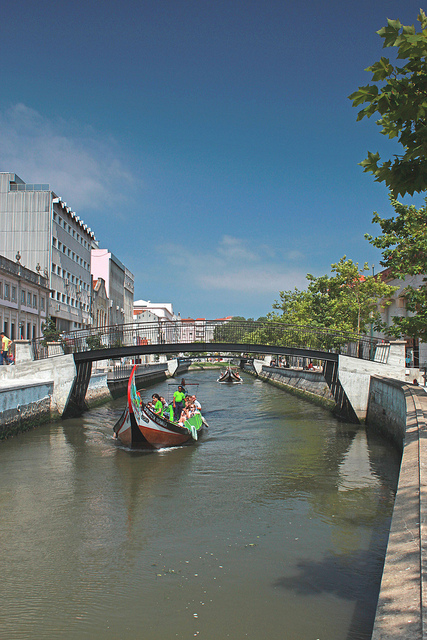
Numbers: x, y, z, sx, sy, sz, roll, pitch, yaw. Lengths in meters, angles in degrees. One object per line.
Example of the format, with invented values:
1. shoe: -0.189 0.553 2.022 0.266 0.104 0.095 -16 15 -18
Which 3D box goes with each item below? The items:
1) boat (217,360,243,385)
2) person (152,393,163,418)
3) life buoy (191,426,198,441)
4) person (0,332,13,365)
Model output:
1. boat: 2.332 7.682 67.467 2.493 1.975 2.636 2 -4 -24
2. person: -2.489 3.812 21.523 0.409 0.530 1.221 -9 38 -9
3. life buoy: -0.898 5.125 21.918 0.144 0.562 0.346 -29 -36 33
4. person: -11.207 1.588 26.223 0.389 1.574 1.770 1 -3 -22
